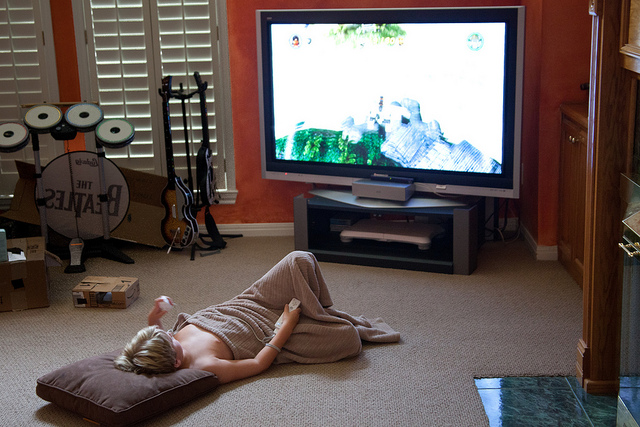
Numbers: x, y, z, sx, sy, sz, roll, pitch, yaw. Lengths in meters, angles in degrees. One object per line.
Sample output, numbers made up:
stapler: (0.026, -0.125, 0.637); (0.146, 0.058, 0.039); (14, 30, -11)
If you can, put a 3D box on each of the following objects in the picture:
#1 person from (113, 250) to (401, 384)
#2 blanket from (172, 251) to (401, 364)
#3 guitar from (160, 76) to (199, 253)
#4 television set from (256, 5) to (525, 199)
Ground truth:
person: (-0.383, 0.554, 3.224); (1.508, 0.578, 0.679); (-8, 9, -22)
blanket: (-0.268, 0.605, 3.284); (1.420, 0.670, 0.633); (-4, 3, -21)
guitar: (-1.309, -0.408, 4.528); (0.327, 1.548, 0.264); (10, 20, 43)
television set: (0.634, -0.957, 4.233); (1.619, 1.139, 0.070); (2, 11, 13)
